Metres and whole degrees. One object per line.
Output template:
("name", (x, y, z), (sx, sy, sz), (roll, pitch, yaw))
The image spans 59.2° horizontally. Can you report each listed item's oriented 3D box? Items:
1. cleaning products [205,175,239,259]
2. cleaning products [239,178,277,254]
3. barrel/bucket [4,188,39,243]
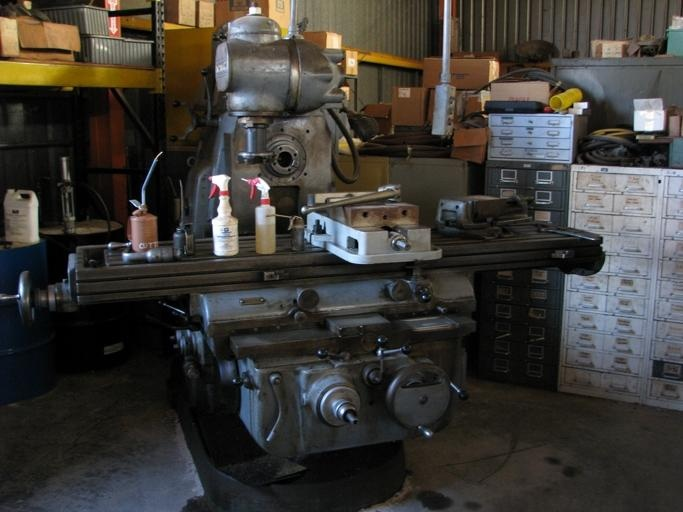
("cleaning products", (-0.447, -0.160, 2.289), (0.097, 0.299, 0.166), (-5, 12, -11))
("cleaning products", (-0.324, -0.179, 2.429), (0.094, 0.281, 0.436), (-4, 11, -9))
("barrel/bucket", (-1.677, -0.210, 3.152), (0.171, 0.282, 0.244), (-8, 13, -28))
